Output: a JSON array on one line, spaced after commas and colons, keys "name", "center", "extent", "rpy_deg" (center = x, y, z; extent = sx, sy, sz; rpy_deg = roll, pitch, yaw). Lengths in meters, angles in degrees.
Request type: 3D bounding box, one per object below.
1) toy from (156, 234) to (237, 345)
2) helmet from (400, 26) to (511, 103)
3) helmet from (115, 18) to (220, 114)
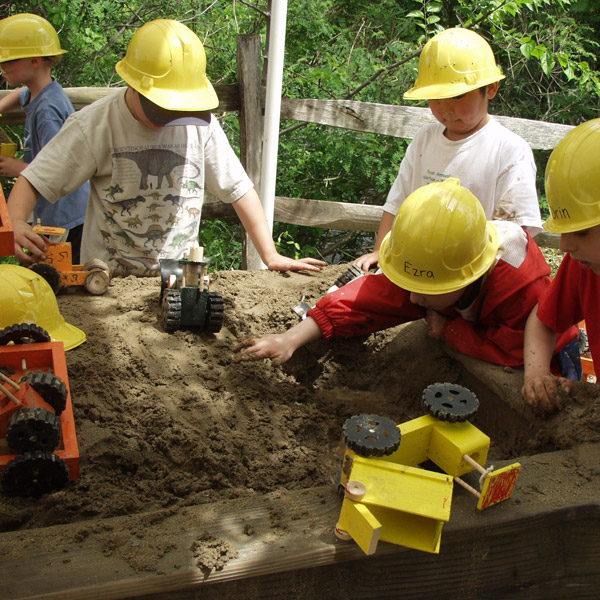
[{"name": "toy", "center": [-0.489, -0.054, 3.172], "extent": [0.311, 0.419, 0.343], "rpy_deg": [7, 16, -15]}, {"name": "helmet", "center": [0.831, -1.238, 3.703], "extent": [0.576, 0.251, 0.456], "rpy_deg": [-20, 22, -41]}, {"name": "helmet", "center": [-0.547, -1.026, 3.118], "extent": [0.536, 0.258, 0.454], "rpy_deg": [38, 36, 26]}]
